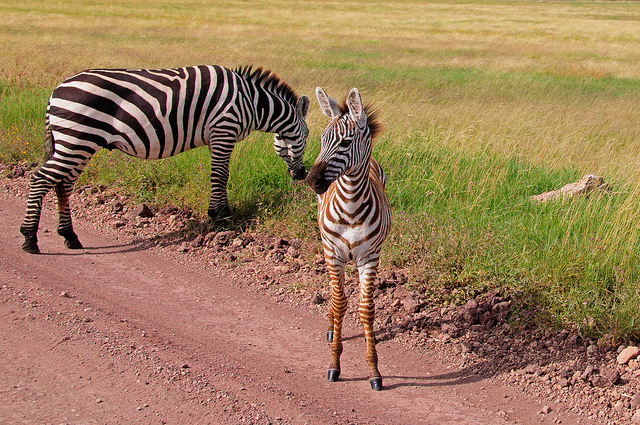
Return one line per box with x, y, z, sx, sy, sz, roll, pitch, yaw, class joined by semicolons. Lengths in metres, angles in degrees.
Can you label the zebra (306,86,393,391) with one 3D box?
0.530;0.359;15.852;1.491;4.953;1.696;-6;20;-29;zebra
